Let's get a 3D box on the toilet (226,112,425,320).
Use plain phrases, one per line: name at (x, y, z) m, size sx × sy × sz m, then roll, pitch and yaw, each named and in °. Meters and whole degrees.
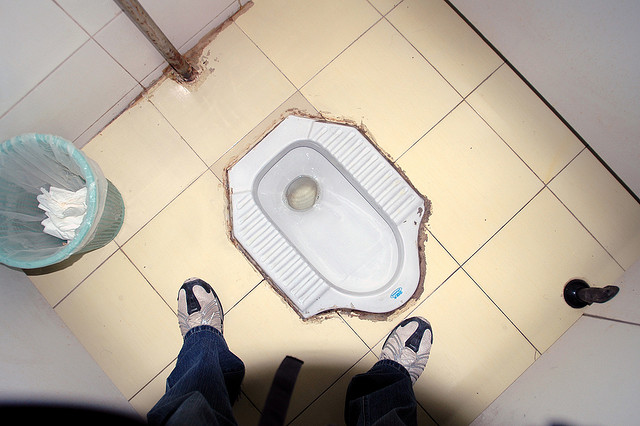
toilet at (0.038, 0.056, 2.218) m, size 0.916 × 0.727 × 0.319 m, roll 47°, pitch -11°, yaw 9°
